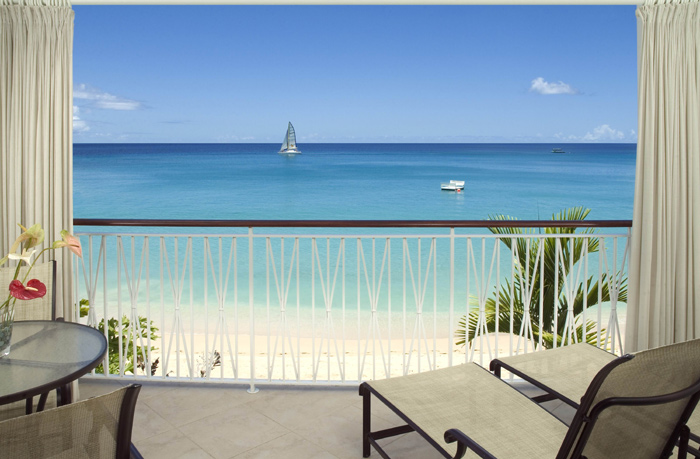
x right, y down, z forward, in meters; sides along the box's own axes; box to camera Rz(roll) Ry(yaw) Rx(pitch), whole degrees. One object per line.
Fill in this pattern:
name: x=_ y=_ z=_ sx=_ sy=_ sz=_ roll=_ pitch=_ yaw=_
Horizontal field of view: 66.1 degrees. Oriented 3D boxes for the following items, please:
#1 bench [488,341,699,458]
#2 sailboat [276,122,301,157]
bench: x=1.335 y=0.974 z=3.346 sx=0.607 sy=0.185 sz=0.815 roll=-1 pitch=4 yaw=-19
sailboat: x=-3.033 y=-4.425 z=26.844 sx=1.036 sy=1.626 sz=1.276 roll=-2 pitch=-2 yaw=-8
